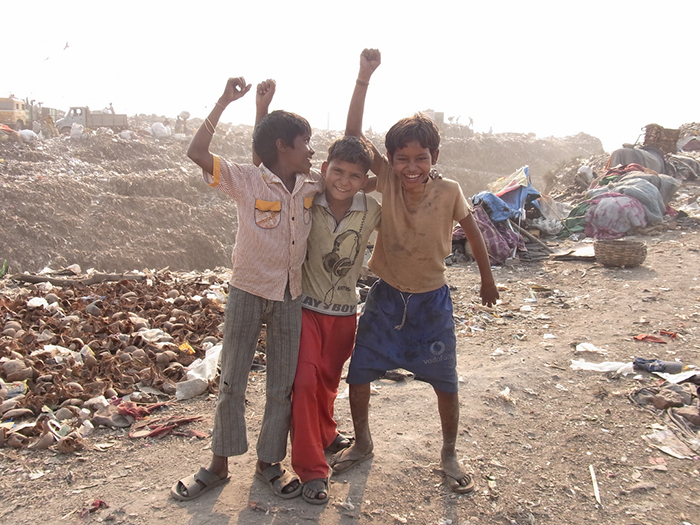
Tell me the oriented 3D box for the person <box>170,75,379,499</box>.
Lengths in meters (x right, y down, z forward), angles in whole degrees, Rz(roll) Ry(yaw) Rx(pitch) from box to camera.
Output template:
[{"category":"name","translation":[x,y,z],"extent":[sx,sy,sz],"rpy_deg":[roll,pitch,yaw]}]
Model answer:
[{"category":"person","translation":[-0.536,0.103,3.898],"extent":[1.244,2.578,1.326],"rpy_deg":[6,16,-21]}]

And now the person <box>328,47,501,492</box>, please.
[{"category":"person","translation":[0.426,0.044,3.815],"extent":[1.189,2.649,0.623],"rpy_deg":[2,2,-6]}]

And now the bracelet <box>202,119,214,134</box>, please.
[{"category":"bracelet","translation":[-0.845,-0.814,3.468],"extent":[0.069,0.090,0.107],"rpy_deg":[1,4,-15]}]

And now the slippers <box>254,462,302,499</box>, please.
[{"category":"slippers","translation":[-0.468,1.337,3.689],"extent":[0.311,0.116,0.155],"rpy_deg":[15,27,41]}]

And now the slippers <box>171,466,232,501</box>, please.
[{"category":"slippers","translation":[-0.932,1.392,3.661],"extent":[0.290,0.057,0.259],"rpy_deg":[15,10,-34]}]
